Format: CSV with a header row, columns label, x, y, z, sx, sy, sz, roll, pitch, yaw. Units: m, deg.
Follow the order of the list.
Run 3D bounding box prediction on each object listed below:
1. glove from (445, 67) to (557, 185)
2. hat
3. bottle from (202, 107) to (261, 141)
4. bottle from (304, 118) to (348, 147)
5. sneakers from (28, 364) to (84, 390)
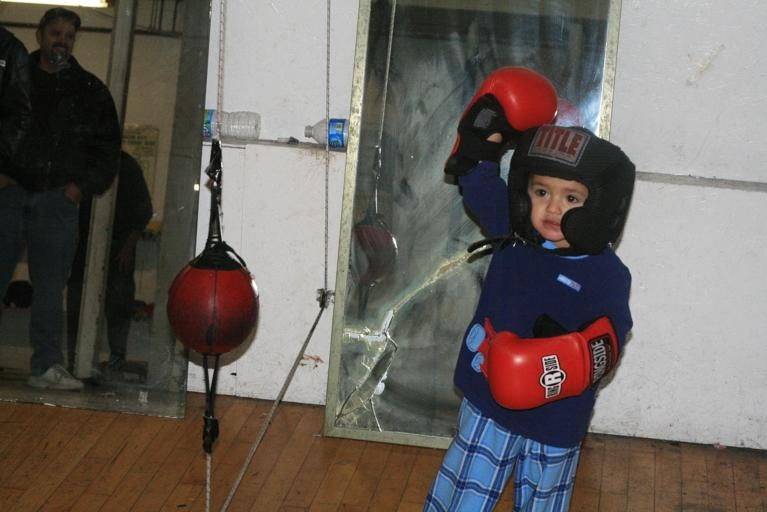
label,x,y,z,sx,sy,sz,roll,pitch,yaw
glove,0.482,-0.558,2.830,0.299,0.514,0.209,44,18,10
hat,0.730,-0.266,2.728,0.497,0.490,0.479,-1,-16,43
bottle,-0.738,-0.660,3.407,0.361,0.121,0.117,4,9,14
bottle,-0.274,-0.620,3.376,0.145,0.087,0.088,1,26,19
sneakers,-1.773,0.651,3.699,0.298,0.138,0.108,2,2,0
